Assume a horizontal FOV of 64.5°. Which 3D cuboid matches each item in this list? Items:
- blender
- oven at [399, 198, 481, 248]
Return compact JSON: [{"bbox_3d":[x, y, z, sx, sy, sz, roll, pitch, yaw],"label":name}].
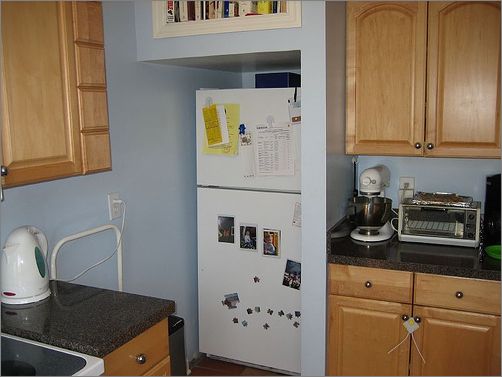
[{"bbox_3d":[0.808,0.095,2.617,0.256,0.470,0.401,6,11,36],"label":"blender"},{"bbox_3d":[1.193,0.204,2.508,0.444,0.277,0.261,4,16,35],"label":"oven"}]
